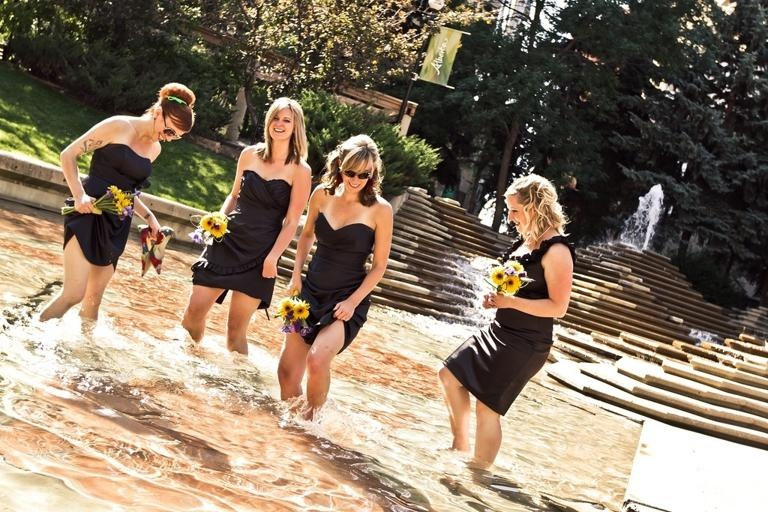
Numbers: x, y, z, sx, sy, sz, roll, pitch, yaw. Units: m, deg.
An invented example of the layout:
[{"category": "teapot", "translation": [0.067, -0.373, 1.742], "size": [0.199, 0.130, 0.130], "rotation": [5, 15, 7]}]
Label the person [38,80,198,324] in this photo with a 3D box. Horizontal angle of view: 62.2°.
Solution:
[{"category": "person", "translation": [-2.728, -0.584, 6.332], "size": [1.016, 2.439, 0.608], "rotation": [19, 1, -24]}]

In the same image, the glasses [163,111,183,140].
[{"category": "glasses", "translation": [-2.129, -1.276, 6.311], "size": [0.073, 0.240, 0.229], "rotation": [-18, -9, 18]}]

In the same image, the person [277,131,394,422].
[{"category": "person", "translation": [-0.493, 0.156, 6.147], "size": [0.915, 2.789, 0.642], "rotation": [19, 1, 8]}]

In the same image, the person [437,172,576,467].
[{"category": "person", "translation": [1.197, 0.595, 6.002], "size": [0.889, 2.868, 0.576], "rotation": [19, 1, 15]}]
